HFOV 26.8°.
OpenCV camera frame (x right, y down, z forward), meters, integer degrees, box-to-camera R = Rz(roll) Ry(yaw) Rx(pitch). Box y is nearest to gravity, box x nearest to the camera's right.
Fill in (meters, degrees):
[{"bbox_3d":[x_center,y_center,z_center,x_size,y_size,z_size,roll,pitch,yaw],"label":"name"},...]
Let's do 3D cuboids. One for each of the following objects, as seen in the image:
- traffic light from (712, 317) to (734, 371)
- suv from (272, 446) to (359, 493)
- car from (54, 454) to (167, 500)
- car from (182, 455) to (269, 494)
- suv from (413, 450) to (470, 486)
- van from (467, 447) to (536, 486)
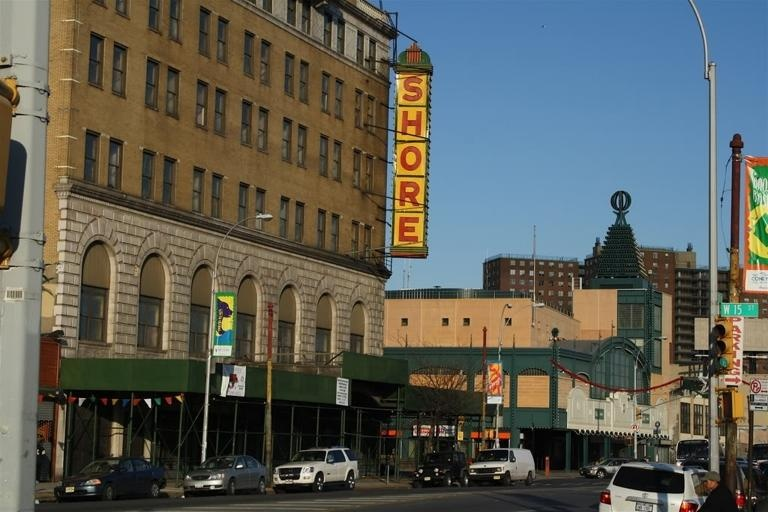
[{"bbox_3d":[14.659,3.785,69.807,0.729,2.329,0.925,1,-13,-7],"label":"traffic light"},{"bbox_3d":[-3.913,11.992,92.008,1.821,2.697,5.264,-12,-18,40],"label":"suv"},{"bbox_3d":[-14.082,11.461,84.515,2.177,1.721,4.980,-7,-14,28],"label":"car"},{"bbox_3d":[-8.719,11.903,88.461,4.552,2.340,1.823,12,-19,-43],"label":"car"},{"bbox_3d":[3.532,13.188,100.786,3.269,2.286,1.745,-1,-13,1],"label":"suv"},{"bbox_3d":[7.373,13.081,101.775,4.312,2.624,2.467,9,-16,-34],"label":"van"}]
